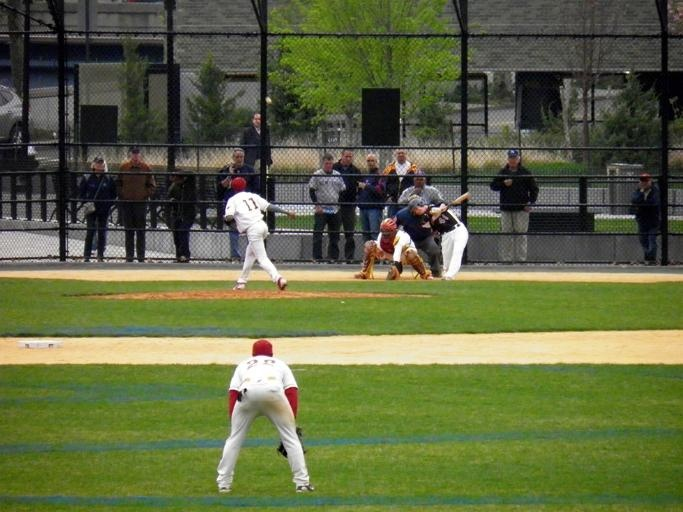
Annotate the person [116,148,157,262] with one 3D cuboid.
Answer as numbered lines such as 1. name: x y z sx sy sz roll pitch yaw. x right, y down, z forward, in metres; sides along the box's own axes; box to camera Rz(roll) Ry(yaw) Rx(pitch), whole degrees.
1. person: -4.600 -1.246 43.563 0.663 2.787 0.641 0 9 -21

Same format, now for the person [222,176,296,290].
1. person: -1.810 -0.666 39.784 1.216 2.438 1.174 3 8 -17

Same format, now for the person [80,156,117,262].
1. person: -5.413 -1.110 43.793 0.791 2.351 0.820 0 1 -11

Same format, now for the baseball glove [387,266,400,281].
1. baseball glove: 1.121 0.288 41.732 0.210 0.323 0.105 0 31 2

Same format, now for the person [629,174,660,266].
1. person: 6.836 -0.892 43.763 0.622 1.971 0.725 0 2 7

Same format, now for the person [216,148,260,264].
1. person: -2.332 -1.306 43.509 0.801 2.698 0.689 -3 9 -25

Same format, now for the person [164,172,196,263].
1. person: -3.543 -0.932 43.676 0.615 2.004 0.914 0 2 -5

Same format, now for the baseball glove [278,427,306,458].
1. baseball glove: -0.788 2.882 31.176 0.351 0.484 0.274 -23 -13 5
